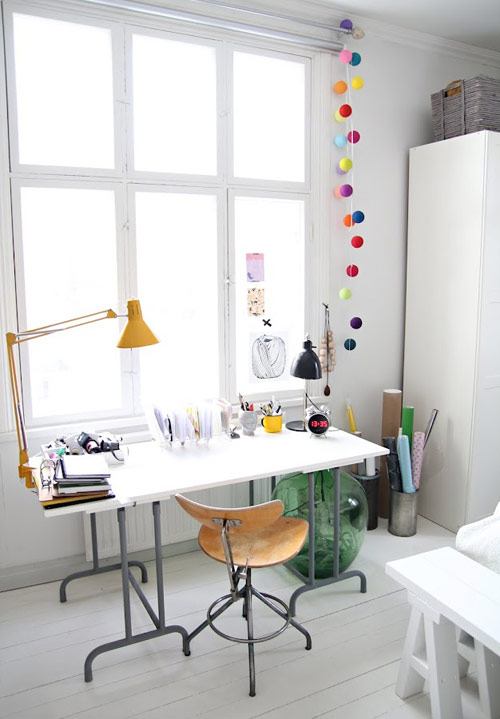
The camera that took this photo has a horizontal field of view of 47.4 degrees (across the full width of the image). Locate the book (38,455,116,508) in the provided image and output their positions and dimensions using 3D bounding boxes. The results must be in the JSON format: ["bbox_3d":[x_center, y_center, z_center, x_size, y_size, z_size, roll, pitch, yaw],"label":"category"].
[{"bbox_3d":[-0.580,0.386,1.875,0.220,0.101,0.272,-4,8,-25],"label":"book"}]

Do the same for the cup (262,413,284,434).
[{"bbox_3d":[0.110,0.298,2.695,0.088,0.072,0.070,-8,13,-33],"label":"cup"}]

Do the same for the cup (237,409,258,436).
[{"bbox_3d":[-0.006,0.282,2.611,0.094,0.129,0.094,0,6,0],"label":"cup"}]

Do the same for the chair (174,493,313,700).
[{"bbox_3d":[-0.004,0.712,1.978,0.435,0.663,0.567,1,7,9],"label":"chair"}]
